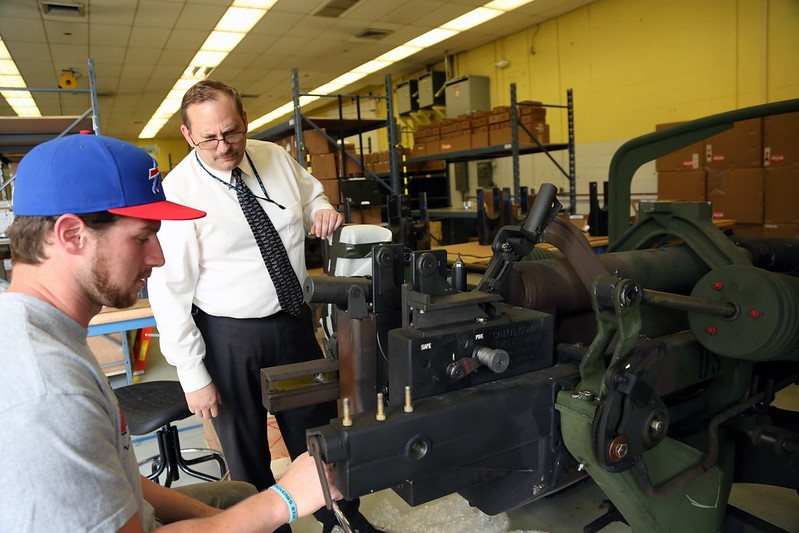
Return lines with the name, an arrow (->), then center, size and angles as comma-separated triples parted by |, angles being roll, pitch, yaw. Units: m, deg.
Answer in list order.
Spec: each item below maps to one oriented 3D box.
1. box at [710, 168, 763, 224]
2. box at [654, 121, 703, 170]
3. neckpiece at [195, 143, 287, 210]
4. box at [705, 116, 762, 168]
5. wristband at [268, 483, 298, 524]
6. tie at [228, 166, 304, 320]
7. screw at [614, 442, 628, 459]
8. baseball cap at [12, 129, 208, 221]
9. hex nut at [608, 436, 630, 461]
box -> 3.516, -0.784, 6.051 | 0.634, 0.620, 0.219 | 10, 36, 42
box -> 3.118, -1.207, 6.393 | 0.129, 0.300, 0.593 | -11, 12, -28
neckpiece -> -0.677, -0.316, 2.554 | 0.035, 0.520, 0.164 | -20, 33, 50
box -> 3.433, -1.244, 5.913 | 0.209, 0.472, 0.585 | -10, 12, -26
wristband -> -0.324, 0.694, 1.652 | 0.023, 0.096, 0.093 | -22, 15, -35
tie -> -0.550, -0.069, 2.477 | 0.157, 0.804, 0.084 | -20, 41, -9
screw -> 0.659, 0.551, 1.702 | 0.011, 0.047, 0.045 | 21, 25, 39
baseball cap -> -0.807, -0.217, 1.557 | 0.356, 0.183, 0.246 | -2, 1, -16
hex nut -> 0.649, 0.540, 1.699 | 0.072, 0.076, 0.024 | -5, 13, -25
